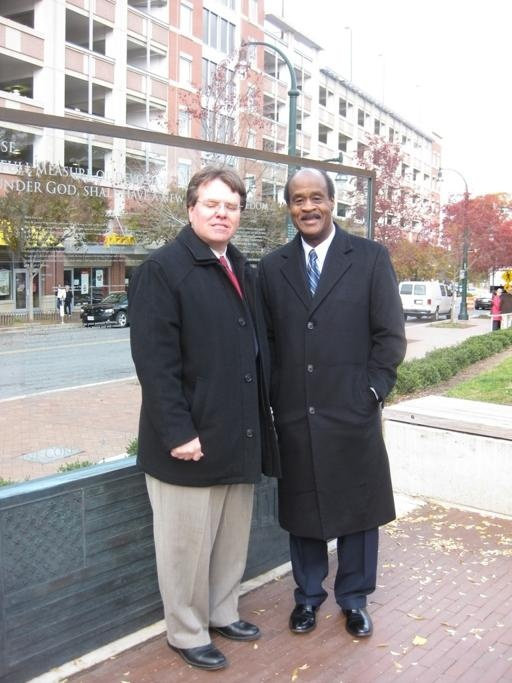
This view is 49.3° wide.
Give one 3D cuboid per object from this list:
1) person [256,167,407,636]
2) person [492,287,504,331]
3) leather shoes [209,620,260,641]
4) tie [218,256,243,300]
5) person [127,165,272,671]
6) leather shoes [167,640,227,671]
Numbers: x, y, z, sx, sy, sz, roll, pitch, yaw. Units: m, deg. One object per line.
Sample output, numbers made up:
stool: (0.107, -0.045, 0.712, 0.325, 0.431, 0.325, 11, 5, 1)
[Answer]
person: (0.332, 0.257, 2.435, 0.633, 2.021, 0.477, 0, 6, 0)
person: (9.377, -1.274, 21.716, 0.306, 1.549, 1.334, 3, 7, 23)
leather shoes: (-0.079, 1.182, 2.332, 0.209, 0.080, 0.078, -4, -3, 18)
tie: (-0.097, -0.280, 2.179, 0.044, 0.294, 0.037, -33, -46, 20)
person: (-0.194, 0.291, 2.144, 0.370, 1.914, 0.596, 5, 9, 41)
leather shoes: (-0.206, 1.168, 2.075, 0.190, 0.082, 0.069, -5, -4, 43)
